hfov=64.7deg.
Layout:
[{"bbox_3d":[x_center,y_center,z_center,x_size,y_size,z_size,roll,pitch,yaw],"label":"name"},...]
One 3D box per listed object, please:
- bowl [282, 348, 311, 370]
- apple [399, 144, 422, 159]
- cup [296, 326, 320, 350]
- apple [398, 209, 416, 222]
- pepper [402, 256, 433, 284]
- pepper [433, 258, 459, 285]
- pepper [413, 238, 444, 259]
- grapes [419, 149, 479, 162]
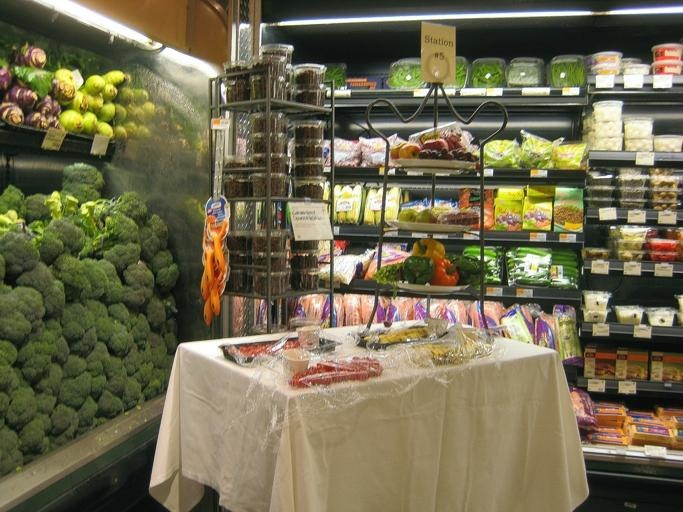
[{"bbox_3d":[-0.180,0.420,2.221,0.103,0.060,0.135,-8,16,-39],"label":"bowl"},{"bbox_3d":[0.327,-0.481,2.564,0.075,0.076,0.084,-41,29,-30],"label":"apple"},{"bbox_3d":[-0.145,0.354,2.363,0.083,0.076,0.085,2,0,0],"label":"cup"},{"bbox_3d":[0.318,-0.190,2.638,0.059,0.075,0.077,-3,-6,-5],"label":"apple"},{"bbox_3d":[0.360,0.073,2.515,0.113,0.125,0.130,6,25,14],"label":"pepper"},{"bbox_3d":[0.500,0.079,2.563,0.131,0.115,0.086,2,11,1],"label":"pepper"},{"bbox_3d":[0.427,-0.036,2.606,0.160,0.086,0.112,2,12,-1],"label":"pepper"},{"bbox_3d":[0.506,-0.472,2.546,0.297,0.052,0.114,2,13,-5],"label":"grapes"}]
